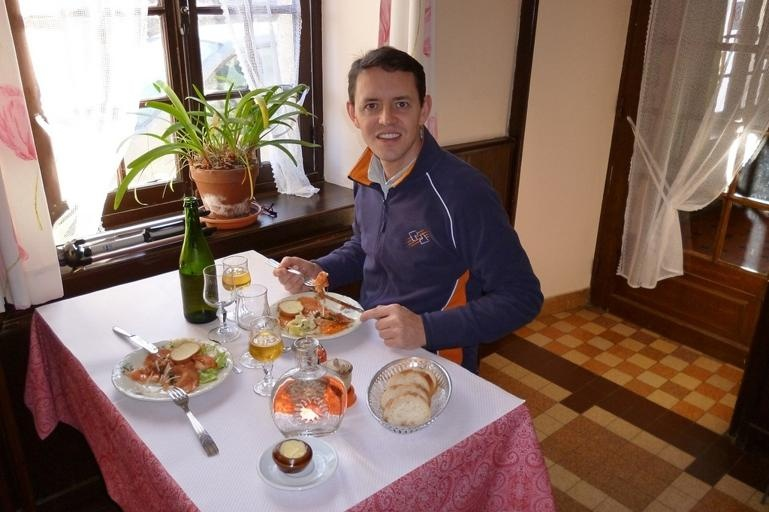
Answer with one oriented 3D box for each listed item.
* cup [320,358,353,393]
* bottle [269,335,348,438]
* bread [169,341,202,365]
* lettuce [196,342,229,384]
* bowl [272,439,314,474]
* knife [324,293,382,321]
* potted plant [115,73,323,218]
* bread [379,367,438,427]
[{"bbox_3d":[-0.132,0.320,1.380,0.073,0.085,0.075,1,27,0],"label":"cup"},{"bbox_3d":[-0.205,0.351,1.303,0.217,0.261,0.091,1,19,-1],"label":"bottle"},{"bbox_3d":[-0.591,0.285,1.473,0.056,0.013,0.060,-5,27,-6],"label":"bread"},{"bbox_3d":[-0.502,0.317,1.482,0.072,0.022,0.101,-11,52,-7],"label":"lettuce"},{"bbox_3d":[-0.223,0.482,1.201,0.094,0.040,0.075,-6,27,-7],"label":"bowl"},{"bbox_3d":[-0.111,0.179,1.733,0.188,0.032,0.017,23,57,39],"label":"knife"},{"bbox_3d":[-0.751,-0.549,2.412,0.753,0.543,0.777,19,34,24],"label":"potted plant"},{"bbox_3d":[0.062,0.378,1.336,0.142,0.047,0.182,3,27,11],"label":"bread"}]
